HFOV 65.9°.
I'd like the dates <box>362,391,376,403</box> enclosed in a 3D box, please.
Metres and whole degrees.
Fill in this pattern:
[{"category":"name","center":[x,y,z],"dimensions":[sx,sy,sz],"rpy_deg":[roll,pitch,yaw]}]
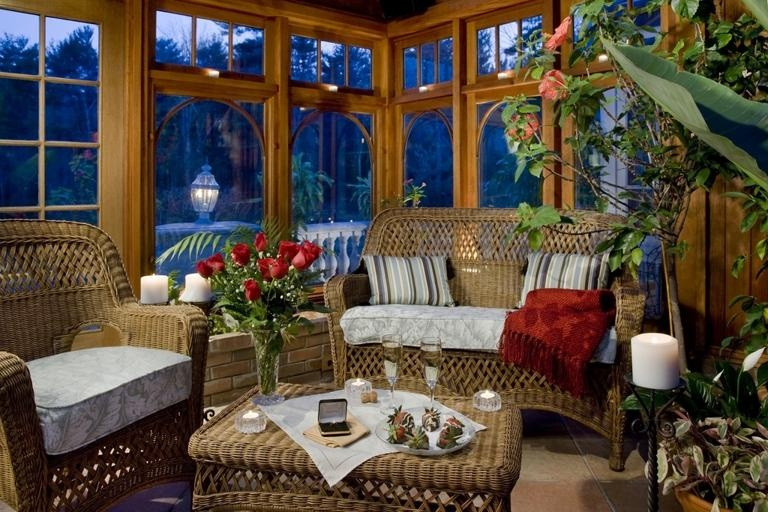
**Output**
[{"category":"dates","center":[-0.068,0.629,2.631],"dimensions":[0.049,0.036,0.050],"rpy_deg":[0,-4,-1]}]

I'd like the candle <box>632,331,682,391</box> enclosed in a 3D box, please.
[{"category":"candle","center":[0.942,0.356,2.098],"dimensions":[0.183,0.206,0.188],"rpy_deg":[-3,1,26]}]

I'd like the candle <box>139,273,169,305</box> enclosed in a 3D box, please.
[{"category":"candle","center":[-1.319,0.187,3.359],"dimensions":[0.155,0.180,0.160],"rpy_deg":[3,3,9]}]

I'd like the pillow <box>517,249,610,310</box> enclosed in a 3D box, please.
[{"category":"pillow","center":[1.057,0.141,3.425],"dimensions":[0.320,0.233,0.116],"rpy_deg":[-2,-16,38]}]
